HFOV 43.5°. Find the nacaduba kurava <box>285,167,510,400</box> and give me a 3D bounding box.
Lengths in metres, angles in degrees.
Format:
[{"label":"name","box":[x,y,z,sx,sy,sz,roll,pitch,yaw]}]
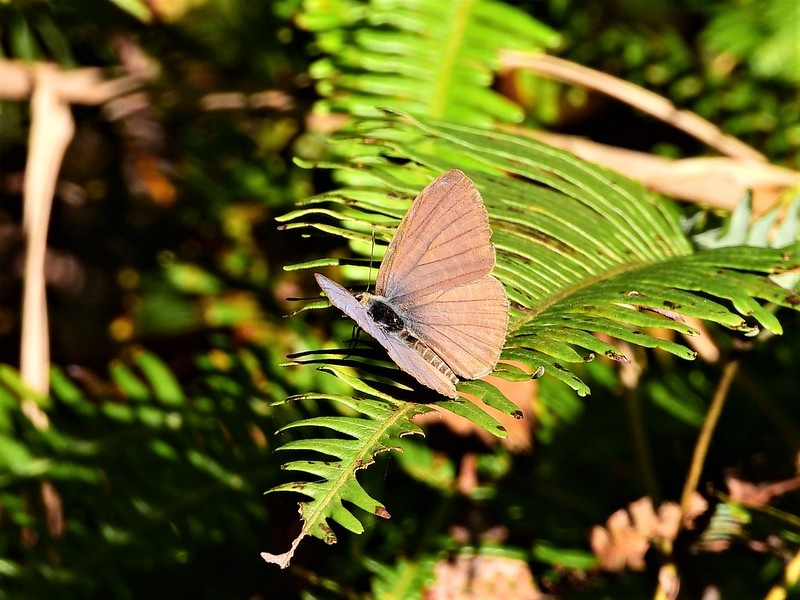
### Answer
[{"label":"nacaduba kurava","box":[0.135,-0.062,2.728,0.296,0.541,0.475,-7,29,-34]}]
